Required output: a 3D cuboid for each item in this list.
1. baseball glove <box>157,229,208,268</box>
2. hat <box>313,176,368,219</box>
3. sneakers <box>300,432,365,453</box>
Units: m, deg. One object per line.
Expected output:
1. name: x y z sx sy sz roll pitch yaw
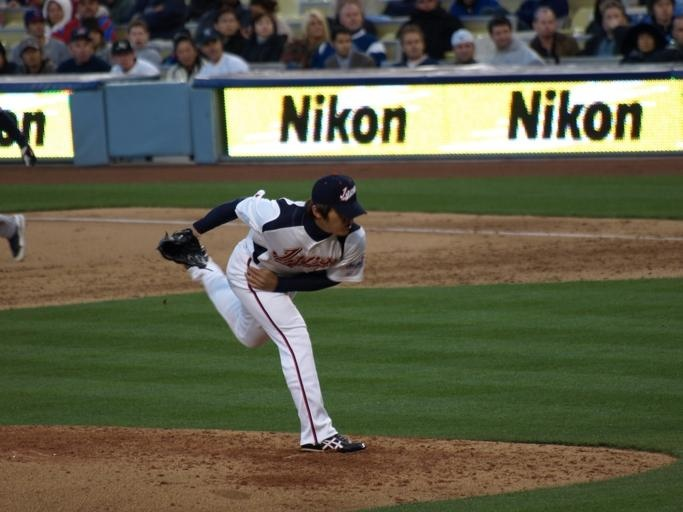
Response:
1. baseball glove: -1.410 -0.057 15.555 0.438 0.318 0.162 16 48 -19
2. hat: -0.004 -0.527 14.784 0.469 0.243 0.312 25 29 17
3. sneakers: -0.075 1.573 15.057 0.605 0.186 0.190 -2 -4 7
